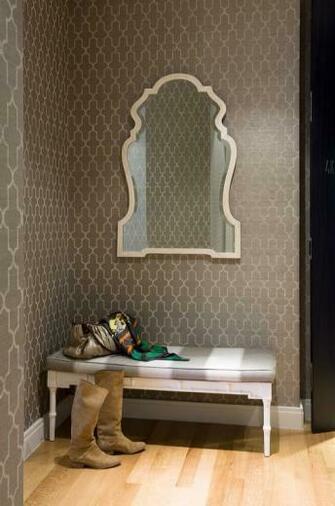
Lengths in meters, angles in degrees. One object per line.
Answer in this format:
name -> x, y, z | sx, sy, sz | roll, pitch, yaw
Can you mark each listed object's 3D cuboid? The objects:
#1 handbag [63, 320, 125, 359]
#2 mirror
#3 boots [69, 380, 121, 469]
handbag -> -0.455, 0.517, 2.423 | 0.245, 0.154, 0.190 | 8, -11, -26
mirror -> 0.077, -0.532, 2.642 | 0.779, 0.037, 1.352 | -1, -51, 1
boots -> -0.356, 0.880, 2.086 | 0.254, 0.508, 0.121 | 2, 15, -12
